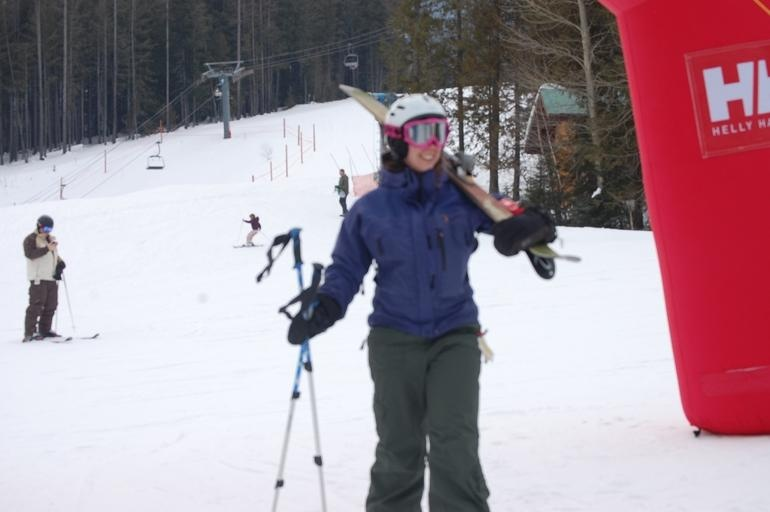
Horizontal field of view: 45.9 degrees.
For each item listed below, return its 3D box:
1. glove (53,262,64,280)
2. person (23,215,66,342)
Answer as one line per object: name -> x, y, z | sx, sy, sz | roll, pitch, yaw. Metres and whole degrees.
glove -> -5.854, 0.261, 16.324 | 0.110, 0.352, 0.142 | 7, -2, -28
person -> -6.071, 0.366, 16.095 | 0.737, 1.749, 0.947 | -4, 3, -20
